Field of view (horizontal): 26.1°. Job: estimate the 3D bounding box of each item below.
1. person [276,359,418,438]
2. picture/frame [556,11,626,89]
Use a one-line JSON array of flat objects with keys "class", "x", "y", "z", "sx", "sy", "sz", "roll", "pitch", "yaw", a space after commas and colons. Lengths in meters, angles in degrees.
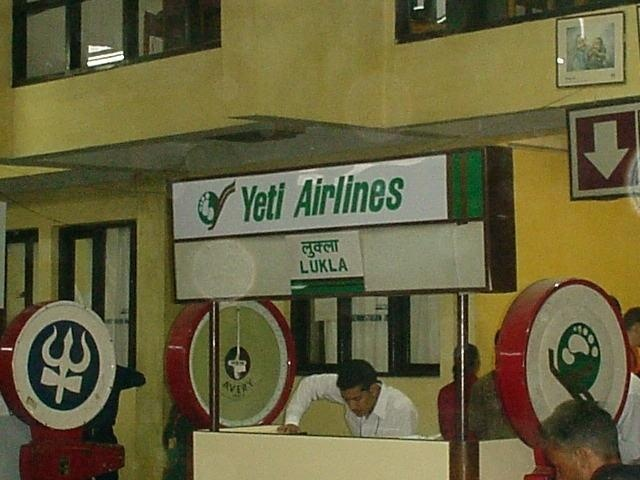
[{"class": "person", "x": 0.224, "y": 1.231, "z": 10.569, "sx": 1.144, "sy": 0.632, "sz": 0.355, "roll": 2, "pitch": -12, "yaw": 43}, {"class": "picture/frame", "x": 2.444, "y": -1.708, "z": 12.492, "sx": 0.617, "sy": 0.760, "sz": 0.024, "roll": -2, "pitch": -26, "yaw": 14}]
